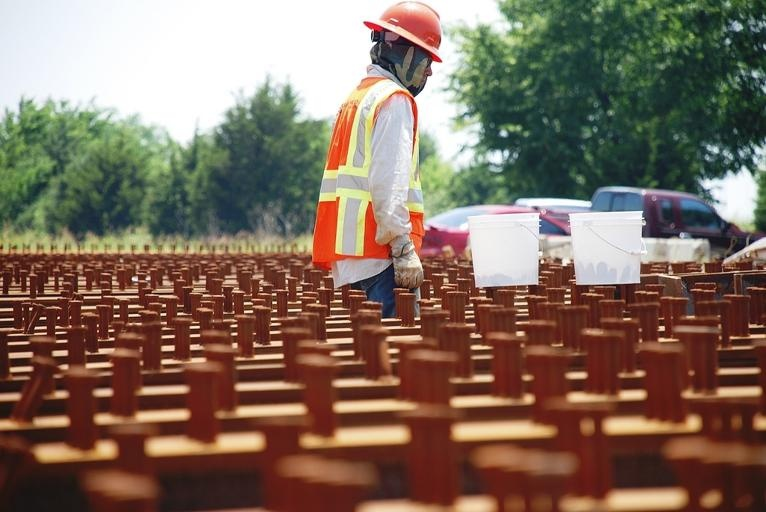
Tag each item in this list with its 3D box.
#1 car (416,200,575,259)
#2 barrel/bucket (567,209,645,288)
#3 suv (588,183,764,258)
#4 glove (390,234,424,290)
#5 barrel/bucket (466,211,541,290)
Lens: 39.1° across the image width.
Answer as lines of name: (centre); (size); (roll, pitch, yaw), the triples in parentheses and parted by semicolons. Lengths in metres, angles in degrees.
car: (1.938, -0.547, 20.342); (2.802, 0.962, 1.157); (0, -1, -33)
barrel/bucket: (2.208, -0.079, 10.519); (0.717, 0.747, 0.750); (0, 1, 0)
suv: (5.431, -0.397, 19.726); (2.612, 1.572, 1.614); (-3, 5, -11)
glove: (0.229, 0.085, 10.389); (0.279, 0.536, 0.183); (-6, 11, 16)
barrel/bucket: (1.273, -0.117, 10.509); (0.618, 0.647, 0.656); (-2, 3, 0)
